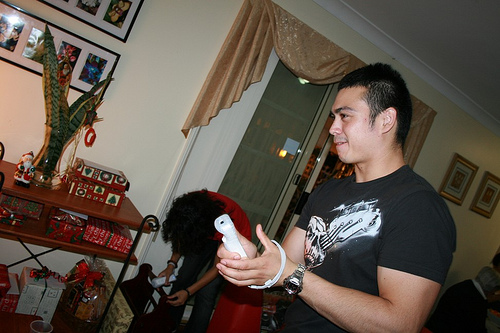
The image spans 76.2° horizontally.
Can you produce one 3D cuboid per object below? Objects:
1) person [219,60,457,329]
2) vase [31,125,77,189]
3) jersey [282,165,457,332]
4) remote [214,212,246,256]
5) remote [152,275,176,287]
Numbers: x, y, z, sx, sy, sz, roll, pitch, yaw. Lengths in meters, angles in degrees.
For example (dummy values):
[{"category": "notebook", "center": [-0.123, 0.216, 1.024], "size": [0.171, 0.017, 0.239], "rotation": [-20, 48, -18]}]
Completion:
[{"category": "person", "center": [0.518, 0.065, 1.604], "size": [0.901, 0.859, 0.510], "rotation": [18, -6, 3]}, {"category": "vase", "center": [-1.465, -0.063, 2.367], "size": [0.210, 0.537, 0.095], "rotation": [20, -7, -31]}, {"category": "jersey", "center": [0.588, 0.275, 1.589], "size": [0.226, 0.472, 0.725], "rotation": [22, -7, -40]}, {"category": "remote", "center": [-0.075, 0.290, 1.369], "size": [0.159, 0.148, 0.125], "rotation": [17, -6, 5]}, {"category": "remote", "center": [-0.674, 0.900, 2.543], "size": [0.047, 0.051, 0.179], "rotation": [19, 6, 31]}]
